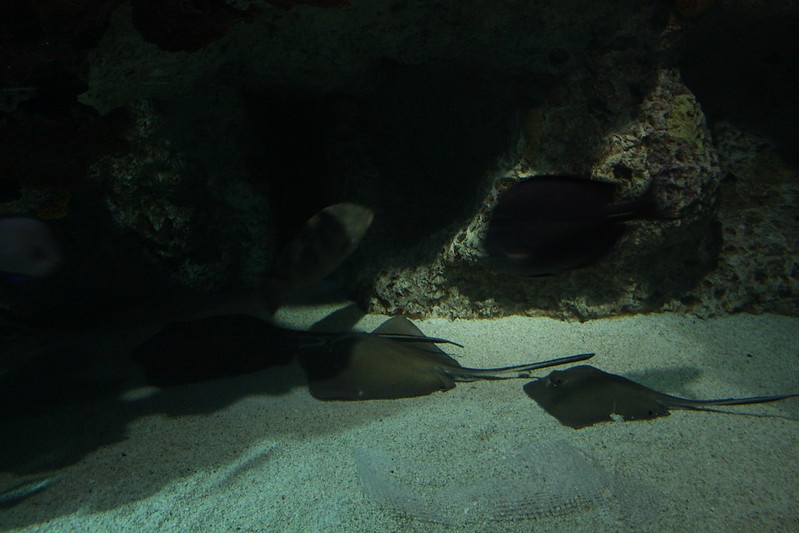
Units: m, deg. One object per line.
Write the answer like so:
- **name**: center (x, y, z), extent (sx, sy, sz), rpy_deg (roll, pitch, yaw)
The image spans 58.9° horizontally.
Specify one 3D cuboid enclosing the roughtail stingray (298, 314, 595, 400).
- **roughtail stingray**: center (0.113, 0.407, 2.867), extent (0.947, 0.127, 0.438), rpy_deg (4, 28, 9)
